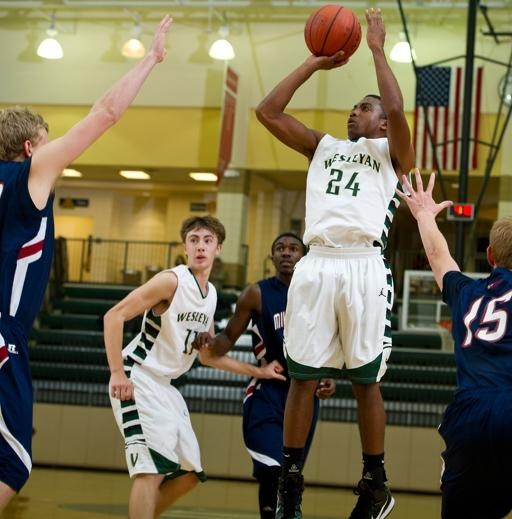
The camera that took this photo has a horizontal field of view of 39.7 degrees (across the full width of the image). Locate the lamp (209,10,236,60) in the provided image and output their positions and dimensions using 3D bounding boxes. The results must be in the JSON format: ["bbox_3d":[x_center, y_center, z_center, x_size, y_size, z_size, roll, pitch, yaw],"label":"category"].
[{"bbox_3d":[-0.644,-4.377,13.809,0.498,0.991,0.979,2,0,-3],"label":"lamp"}]

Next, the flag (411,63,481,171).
[{"bbox_3d":[3.299,-2.575,12.106,1.168,1.929,2.278,2,-1,13],"label":"flag"}]

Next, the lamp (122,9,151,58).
[{"bbox_3d":[-2.360,-4.306,13.832,0.379,0.781,0.415,1,-5,18],"label":"lamp"}]
